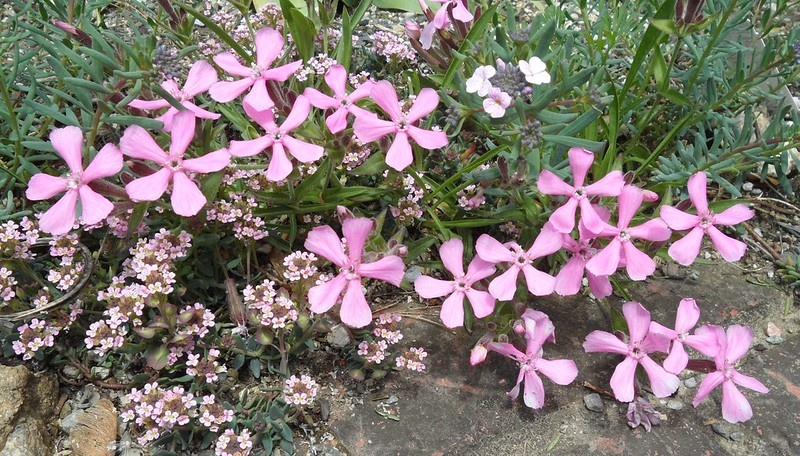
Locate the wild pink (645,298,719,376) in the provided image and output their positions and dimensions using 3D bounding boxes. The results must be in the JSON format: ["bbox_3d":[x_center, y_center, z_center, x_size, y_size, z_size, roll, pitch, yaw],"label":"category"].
[{"bbox_3d":[1.508,0.583,3.451,0.415,0.112,0.390,23,84,-29],"label":"wild pink"}]

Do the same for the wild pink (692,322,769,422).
[{"bbox_3d":[1.816,0.775,3.335,0.241,0.563,0.506,-28,55,9],"label":"wild pink"}]

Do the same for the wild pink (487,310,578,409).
[{"bbox_3d":[0.687,0.725,3.355,0.445,0.464,0.176,-16,29,-40],"label":"wild pink"}]

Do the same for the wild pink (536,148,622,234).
[{"bbox_3d":[0.986,-0.157,3.248,0.411,0.141,0.446,41,72,19],"label":"wild pink"}]

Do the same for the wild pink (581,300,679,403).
[{"bbox_3d":[1.341,0.732,3.433,0.692,0.237,0.587,-21,91,-49],"label":"wild pink"}]
